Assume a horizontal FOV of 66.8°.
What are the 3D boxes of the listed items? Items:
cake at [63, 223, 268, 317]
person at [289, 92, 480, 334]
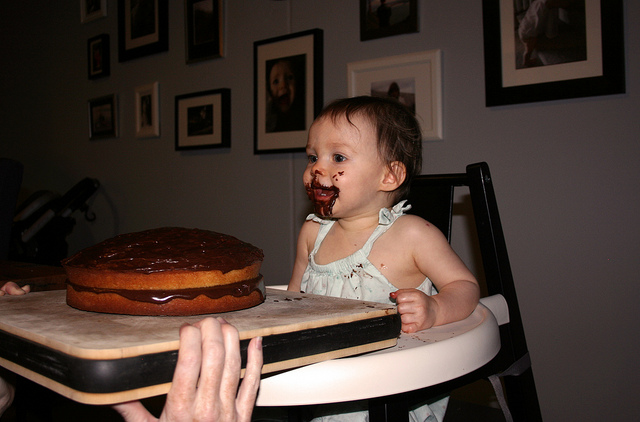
[{"bbox_3d":[-0.330,0.118,1.033,0.417,0.154,0.226,-1,4,-11],"label":"cake"},{"bbox_3d":[0.223,-0.004,1.449,0.499,0.828,0.316,-22,-34,36],"label":"person"}]
